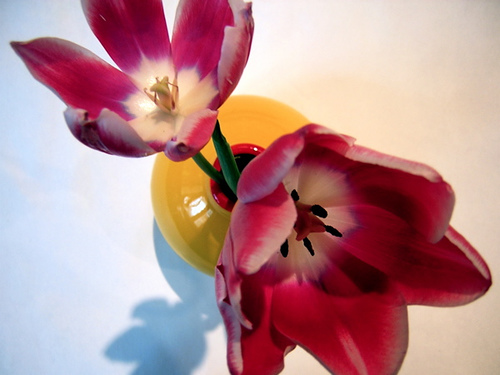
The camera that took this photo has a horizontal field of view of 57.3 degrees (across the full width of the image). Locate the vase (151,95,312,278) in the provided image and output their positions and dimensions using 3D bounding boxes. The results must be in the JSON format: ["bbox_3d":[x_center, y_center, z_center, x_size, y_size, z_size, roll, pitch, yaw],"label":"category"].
[{"bbox_3d":[-0.067,0.000,0.938,0.296,0.383,0.185,-4,-6,5],"label":"vase"}]

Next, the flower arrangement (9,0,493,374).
[{"bbox_3d":[-0.017,0.033,0.913,0.472,0.499,0.719,-38,5,3],"label":"flower arrangement"}]
